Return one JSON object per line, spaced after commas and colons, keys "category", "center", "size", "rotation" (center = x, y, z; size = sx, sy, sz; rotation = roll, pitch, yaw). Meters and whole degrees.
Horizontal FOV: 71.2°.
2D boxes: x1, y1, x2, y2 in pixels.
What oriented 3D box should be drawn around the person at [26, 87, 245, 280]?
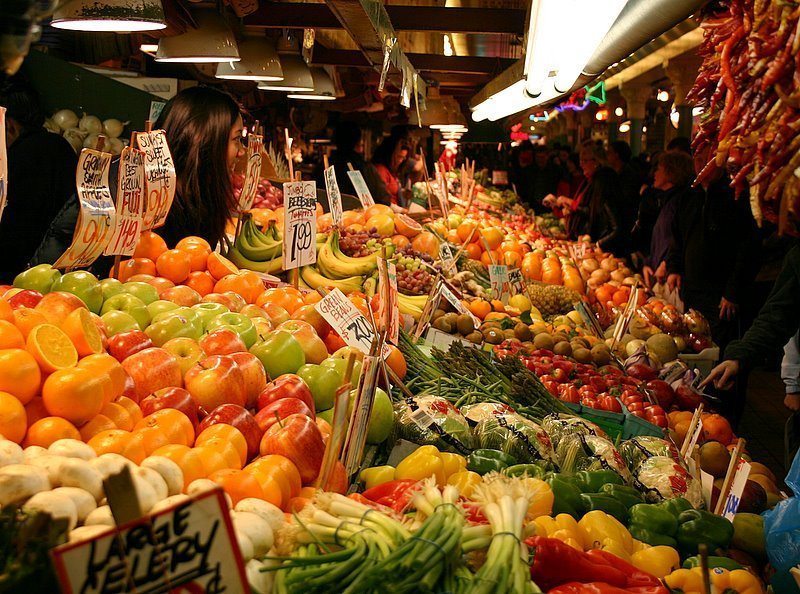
{"category": "person", "center": [-1.671, -0.857, 3.402], "size": [0.981, 1.380, 1.033], "rotation": [4, 16, 9]}
